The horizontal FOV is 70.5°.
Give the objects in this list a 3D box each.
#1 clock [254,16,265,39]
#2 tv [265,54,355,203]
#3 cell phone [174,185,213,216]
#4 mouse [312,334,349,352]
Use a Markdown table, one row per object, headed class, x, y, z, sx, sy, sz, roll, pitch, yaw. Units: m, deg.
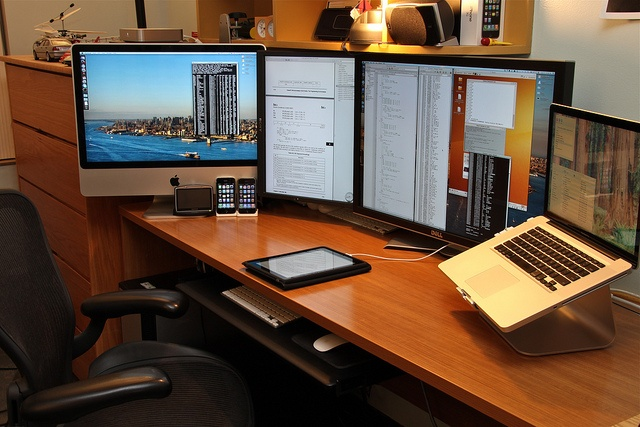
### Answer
| class | x | y | z | sx | sy | sz | roll | pitch | yaw |
| --- | --- | --- | --- | --- | --- | --- | --- | --- | --- |
| clock | -0.301 | -0.936 | 2.288 | 0.033 | 0.106 | 0.159 | -12 | 22 | -21 |
| tv | 0.002 | -0.342 | 1.833 | 0.446 | 0.546 | 0.099 | 10 | 20 | 37 |
| cell phone | -0.534 | -0.054 | 1.911 | 0.143 | 0.109 | 0.048 | 0 | 4 | -6 |
| mouse | 0.020 | 0.370 | 1.303 | 0.081 | 0.017 | 0.039 | -18 | 28 | -34 |
